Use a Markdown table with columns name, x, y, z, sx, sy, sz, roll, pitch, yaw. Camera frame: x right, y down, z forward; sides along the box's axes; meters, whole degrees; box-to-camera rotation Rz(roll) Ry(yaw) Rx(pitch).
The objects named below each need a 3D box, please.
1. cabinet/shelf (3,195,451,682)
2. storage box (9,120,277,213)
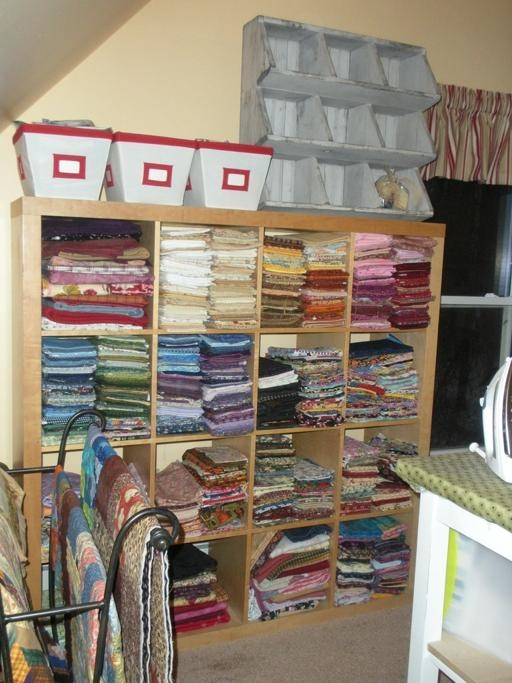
| name | x | y | z | sx | sy | sz | roll | pitch | yaw |
| --- | --- | --- | --- | --- | --- | --- | --- | --- | --- |
| cabinet/shelf | -0.117 | 0.312 | 2.111 | 2.012 | 1.626 | 0.480 | -2 | 9 | -21 |
| storage box | -0.372 | -0.570 | 2.110 | 0.837 | 0.257 | 0.251 | 0 | 3 | -27 |
